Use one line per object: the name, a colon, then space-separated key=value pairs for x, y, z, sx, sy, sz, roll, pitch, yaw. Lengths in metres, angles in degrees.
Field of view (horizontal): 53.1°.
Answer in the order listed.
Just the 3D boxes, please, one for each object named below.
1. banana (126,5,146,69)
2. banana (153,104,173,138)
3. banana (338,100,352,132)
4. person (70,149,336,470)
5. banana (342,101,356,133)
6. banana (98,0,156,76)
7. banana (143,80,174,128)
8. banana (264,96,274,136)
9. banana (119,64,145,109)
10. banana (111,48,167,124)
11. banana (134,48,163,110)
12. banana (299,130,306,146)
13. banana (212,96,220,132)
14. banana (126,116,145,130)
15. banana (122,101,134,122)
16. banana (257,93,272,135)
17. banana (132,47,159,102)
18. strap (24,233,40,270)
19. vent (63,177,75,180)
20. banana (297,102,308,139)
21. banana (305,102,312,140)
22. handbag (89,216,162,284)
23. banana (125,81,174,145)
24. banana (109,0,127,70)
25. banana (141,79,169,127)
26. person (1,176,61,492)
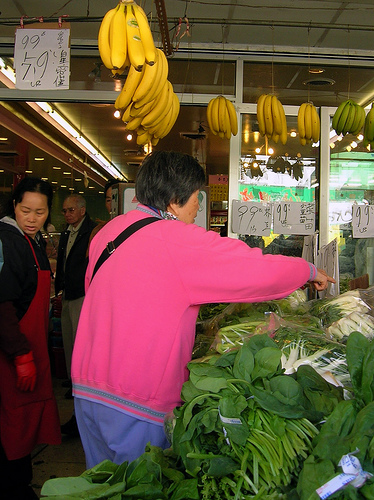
banana: x=-0.198 y=-0.901 z=1.581 sx=0.066 sy=0.309 sz=0.099 roll=-4 pitch=-13 yaw=-5
banana: x=-0.152 y=-0.783 z=2.270 sx=0.052 sy=0.158 sz=0.097 roll=45 pitch=22 yaw=22
banana: x=1.264 y=-1.061 z=3.004 sx=0.092 sy=0.254 sz=0.053 roll=14 pitch=12 yaw=-12
person: x=-0.050 y=0.224 z=1.128 sx=0.739 sy=1.038 sz=0.253 roll=2 pitch=1 yaw=30
banana: x=1.318 y=-1.076 z=3.021 sx=0.055 sy=0.224 sz=0.086 roll=12 pitch=-1 yaw=0
banana: x=-0.271 y=-0.889 z=1.656 sx=0.226 sy=0.401 sz=0.121 roll=-14 pitch=-20 yaw=-7
banana: x=-0.188 y=-0.852 z=2.178 sx=0.041 sy=0.278 sz=0.188 roll=25 pitch=-8 yaw=10
banana: x=0.657 y=-1.087 z=3.076 sx=0.114 sy=0.313 sz=0.064 roll=-5 pitch=7 yaw=-30
banana: x=-0.262 y=-0.750 z=1.770 sx=0.067 sy=0.245 sz=0.083 roll=22 pitch=29 yaw=-11
banana: x=-0.228 y=-0.819 z=1.931 sx=0.203 sy=0.156 sz=0.440 roll=6 pitch=13 yaw=3
banana: x=-0.185 y=-0.804 z=1.833 sx=0.093 sy=0.339 sz=0.075 roll=14 pitch=-12 yaw=-12
banana: x=1.052 y=-1.017 z=3.427 sx=0.083 sy=0.055 sz=0.236 roll=-6 pitch=-5 yaw=9
banana: x=0.247 y=-1.161 z=3.184 sx=0.087 sy=0.254 sz=0.061 roll=11 pitch=-9 yaw=-34
banana: x=-0.271 y=-0.691 z=2.040 sx=0.039 sy=0.049 sz=0.148 roll=15 pitch=50 yaw=28
banana: x=-0.311 y=-0.709 z=1.923 sx=0.032 sy=0.116 sz=0.031 roll=43 pitch=47 yaw=13
banana: x=0.643 y=-1.130 z=3.107 sx=0.138 sy=0.375 sz=0.080 roll=-2 pitch=5 yaw=-5
banana: x=-0.187 y=-0.769 z=1.717 sx=0.097 sy=0.286 sz=0.061 roll=14 pitch=-8 yaw=13
strap: x=-0.846 y=-0.010 z=2.022 sx=0.035 sy=0.044 sz=0.303 roll=-19 pitch=50 yaw=-25
vent: x=-4.289 y=-2.580 z=13.475 sx=0.406 sy=0.050 sz=0.560 roll=1 pitch=1 yaw=-18
banana: x=0.968 y=-1.089 z=3.186 sx=0.101 sy=0.293 sz=0.069 roll=2 pitch=3 yaw=-26
banana: x=1.013 y=-1.080 z=3.129 sx=0.059 sy=0.285 sz=0.102 roll=-1 pitch=0 yaw=1
handbag: x=-0.189 y=-0.023 z=1.122 sx=0.048 sy=0.188 sz=0.205 roll=26 pitch=42 yaw=37
banana: x=-0.217 y=-0.755 z=2.152 sx=0.137 sy=0.435 sz=0.201 roll=21 pitch=-8 yaw=32
banana: x=-0.291 y=-0.925 z=1.599 sx=0.061 sy=0.370 sz=0.193 roll=1 pitch=1 yaw=-10
banana: x=-0.137 y=-0.802 z=2.075 sx=0.076 sy=0.128 sz=0.389 roll=17 pitch=41 yaw=9
person: x=-0.980 y=0.566 z=2.320 sx=0.363 sy=1.915 sz=1.125 roll=1 pitch=1 yaw=-19
